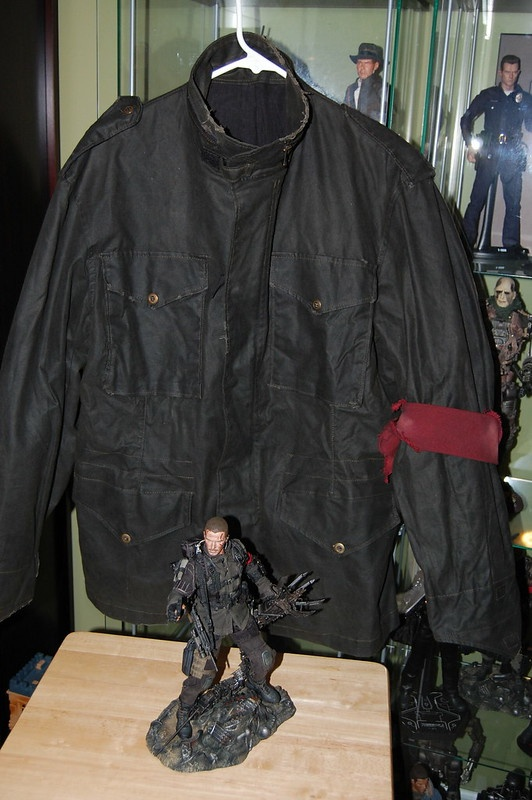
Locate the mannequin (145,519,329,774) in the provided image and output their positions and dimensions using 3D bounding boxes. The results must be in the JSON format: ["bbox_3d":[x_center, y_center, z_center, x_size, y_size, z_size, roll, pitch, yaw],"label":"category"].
[{"bbox_3d":[-0.068,0.411,1.221,0.201,0.437,0.342,11,21,31],"label":"mannequin"}]
